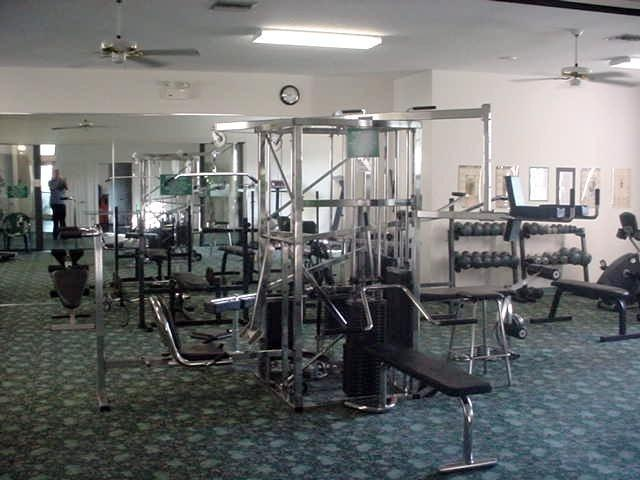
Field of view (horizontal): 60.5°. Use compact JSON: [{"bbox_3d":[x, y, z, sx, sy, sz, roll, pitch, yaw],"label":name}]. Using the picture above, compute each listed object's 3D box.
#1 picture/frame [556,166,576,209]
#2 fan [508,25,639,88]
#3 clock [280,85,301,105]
[{"bbox_3d":[4.454,-0.973,9.846,0.474,0.636,0.172,-3,10,-24],"label":"picture/frame"},{"bbox_3d":[4.219,-2.532,8.614,1.520,0.613,4.107,5,9,27],"label":"fan"},{"bbox_3d":[-0.518,-2.524,9.597,0.397,0.309,0.074,3,8,-23],"label":"clock"}]
